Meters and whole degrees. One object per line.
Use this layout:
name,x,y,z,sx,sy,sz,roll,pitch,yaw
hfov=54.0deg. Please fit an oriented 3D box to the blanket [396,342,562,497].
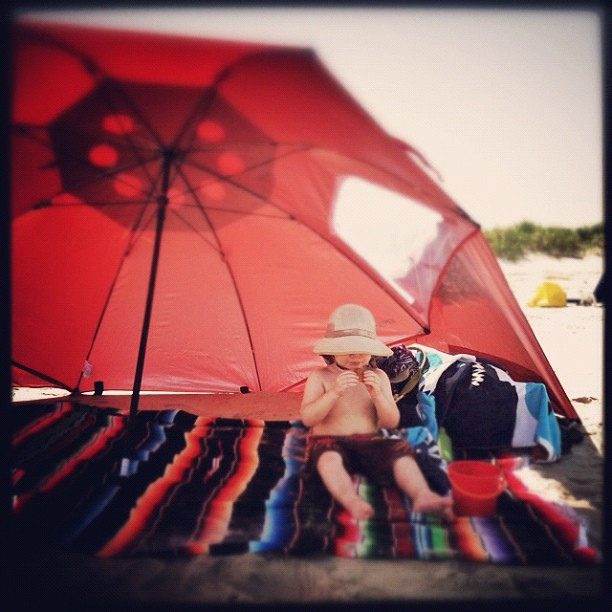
blanket,0.879,0.565,3.168,0.616,0.209,0.671,-1,26,0

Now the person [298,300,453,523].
person,0.269,0.425,2.711,0.540,0.724,1.065,2,7,-7
